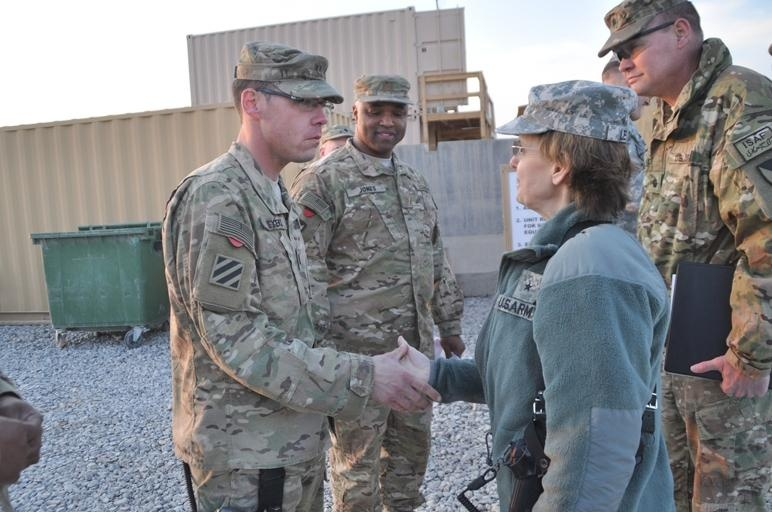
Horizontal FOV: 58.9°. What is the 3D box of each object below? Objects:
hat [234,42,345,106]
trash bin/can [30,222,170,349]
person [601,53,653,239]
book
[{"bbox_3d":[-0.523,-0.963,3.583,0.450,0.178,0.314,13,18,1],"label":"hat"},{"bbox_3d":[-3.379,0.343,8.142,1.363,1.334,0.562,-1,14,6],"label":"trash bin/can"},{"bbox_3d":[1.727,-0.885,5.213,0.402,1.247,0.379,-4,-4,-1],"label":"person"},{"bbox_3d":[1.638,0.333,3.607,0.146,0.594,0.637,8,1,32],"label":"book"}]
